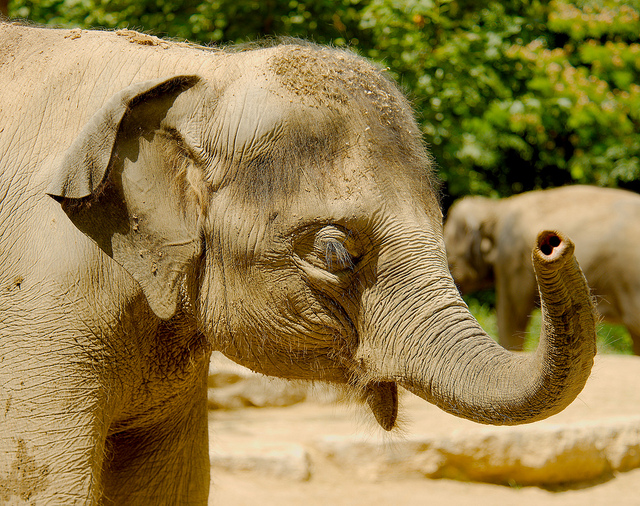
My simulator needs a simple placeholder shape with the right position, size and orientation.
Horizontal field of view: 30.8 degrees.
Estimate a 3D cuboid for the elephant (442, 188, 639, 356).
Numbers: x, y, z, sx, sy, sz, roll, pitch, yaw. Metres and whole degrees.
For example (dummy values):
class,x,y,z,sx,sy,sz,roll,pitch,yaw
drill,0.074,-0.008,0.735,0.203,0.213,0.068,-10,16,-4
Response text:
class,x,y,z,sx,sy,sz,roll,pitch,yaw
elephant,1.521,0.038,8.370,0.860,1.158,2.056,-1,3,-32
